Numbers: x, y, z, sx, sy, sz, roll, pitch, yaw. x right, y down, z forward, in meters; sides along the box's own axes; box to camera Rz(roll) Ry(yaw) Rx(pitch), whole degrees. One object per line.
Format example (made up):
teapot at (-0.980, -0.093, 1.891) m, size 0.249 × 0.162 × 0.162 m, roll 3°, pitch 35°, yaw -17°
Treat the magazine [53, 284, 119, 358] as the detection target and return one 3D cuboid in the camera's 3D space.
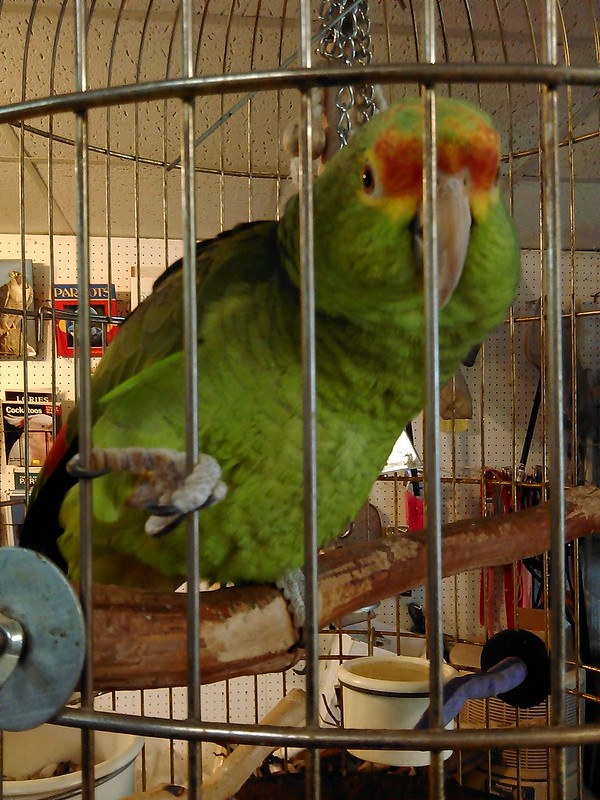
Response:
magazine at (-0.393, -0.155, 2.202) m, size 0.110 × 0.020 × 0.171 m, roll -3°, pitch -46°, yaw -12°
